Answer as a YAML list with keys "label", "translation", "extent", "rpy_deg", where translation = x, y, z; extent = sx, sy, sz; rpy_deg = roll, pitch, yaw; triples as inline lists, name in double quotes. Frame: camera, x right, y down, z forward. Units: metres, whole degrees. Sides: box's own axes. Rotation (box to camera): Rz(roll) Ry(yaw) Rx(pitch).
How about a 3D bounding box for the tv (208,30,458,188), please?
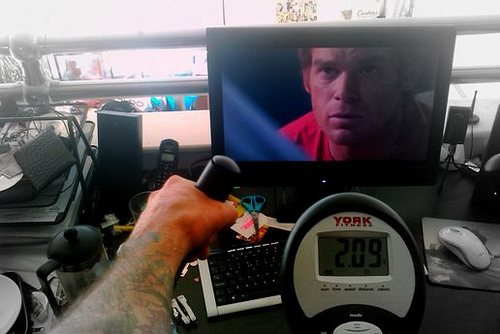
- label: "tv"
  translation: [0.247, -0.190, 1.117]
  extent: [0.726, 0.512, 0.079]
  rpy_deg: [-1, 24, 0]

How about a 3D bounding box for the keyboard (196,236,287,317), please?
- label: "keyboard"
  translation: [-0.019, 0.303, 0.985]
  extent: [0.302, 0.051, 0.184]
  rpy_deg: [-8, 58, -8]

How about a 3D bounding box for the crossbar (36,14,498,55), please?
- label: "crossbar"
  translation: [-0.250, -0.759, 1.750]
  extent: [1.817, 0.143, 0.756]
  rpy_deg: [-4, 27, -6]

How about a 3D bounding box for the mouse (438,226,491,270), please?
- label: "mouse"
  translation: [0.630, 0.219, 1.075]
  extent: [0.128, 0.101, 0.142]
  rpy_deg: [4, 20, 23]
